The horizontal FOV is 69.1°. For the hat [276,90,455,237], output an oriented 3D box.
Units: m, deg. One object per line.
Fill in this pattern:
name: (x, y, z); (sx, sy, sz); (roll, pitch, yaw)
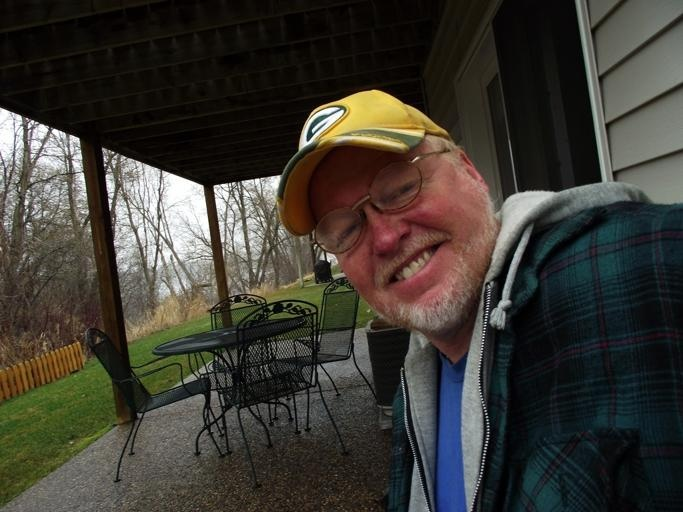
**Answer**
hat: (0.100, -0.315, 1.514); (0.483, 0.265, 0.343); (-11, -29, -51)
